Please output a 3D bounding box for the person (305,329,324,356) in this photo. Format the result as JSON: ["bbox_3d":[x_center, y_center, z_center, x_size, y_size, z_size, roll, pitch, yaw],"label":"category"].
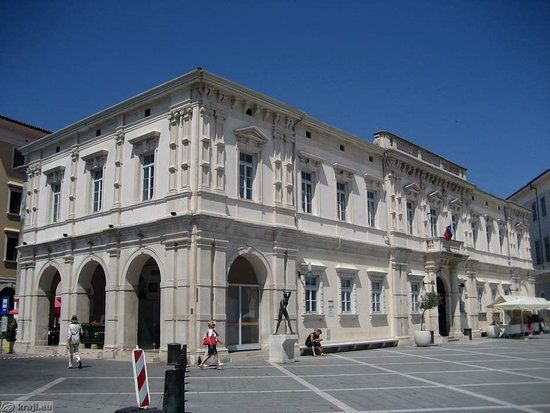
[{"bbox_3d":[2.008,6.937,24.944,0.932,1.269,0.729,5,0,30],"label":"person"}]

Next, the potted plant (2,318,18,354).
[{"bbox_3d":[-17.075,8.221,30.813,0.737,2.127,1.782,8,-18,-28],"label":"potted plant"}]

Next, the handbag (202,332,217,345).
[{"bbox_3d":[-2.735,5.401,19.608,0.408,0.407,0.565,3,-7,-31],"label":"handbag"}]
